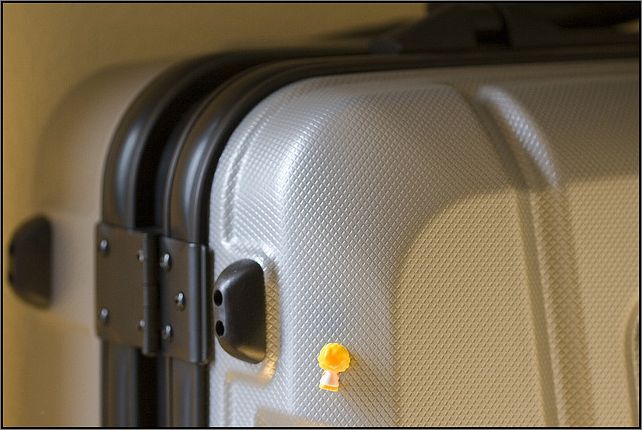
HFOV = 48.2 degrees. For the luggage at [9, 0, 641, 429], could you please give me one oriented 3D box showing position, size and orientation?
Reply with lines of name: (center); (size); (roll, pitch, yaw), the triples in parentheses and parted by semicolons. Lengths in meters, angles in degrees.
luggage: (-0.015, 0.018, 0.919); (0.520, 0.471, 0.367); (-1, 4, -29)
